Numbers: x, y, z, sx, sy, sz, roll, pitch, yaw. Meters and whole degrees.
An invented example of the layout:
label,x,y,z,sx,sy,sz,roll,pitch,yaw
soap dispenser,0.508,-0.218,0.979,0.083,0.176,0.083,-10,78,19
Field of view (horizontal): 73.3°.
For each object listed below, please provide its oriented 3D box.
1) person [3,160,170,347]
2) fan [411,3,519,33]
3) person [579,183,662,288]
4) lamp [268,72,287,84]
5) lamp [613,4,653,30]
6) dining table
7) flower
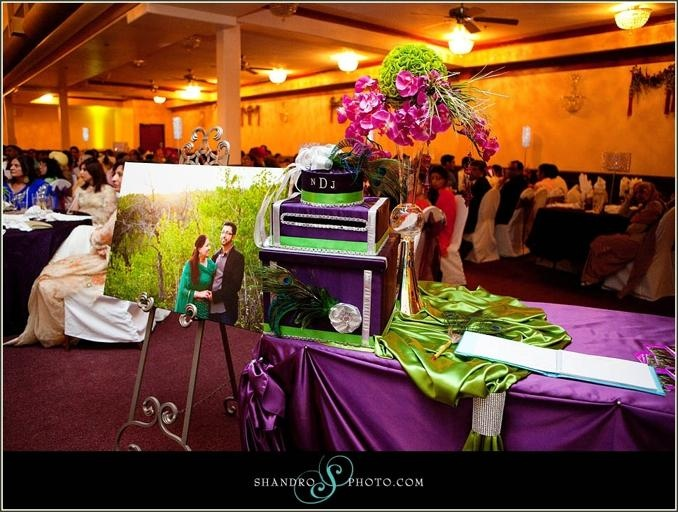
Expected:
label,x,y,z,sx,sy,sz,roll,pitch,yaw
person,-2.215,0.102,3.867,1.471,1.775,1.012,2,1,-19
fan,1.729,-3.344,6.315,1.149,0.320,1.185,0,15,1
person,3.239,-0.206,5.189,0.677,1.194,0.683,12,18,39
lamp,-1.215,-3.573,9.017,0.291,0.183,0.448,1,15,3
lamp,3.740,-3.115,5.839,0.352,0.370,0.798,8,17,28
dining table,-2.473,0.135,4.066,0.680,0.704,0.735,0,5,-20
flower,0.360,-0.562,1.811,0.492,0.320,0.499,9,6,44
